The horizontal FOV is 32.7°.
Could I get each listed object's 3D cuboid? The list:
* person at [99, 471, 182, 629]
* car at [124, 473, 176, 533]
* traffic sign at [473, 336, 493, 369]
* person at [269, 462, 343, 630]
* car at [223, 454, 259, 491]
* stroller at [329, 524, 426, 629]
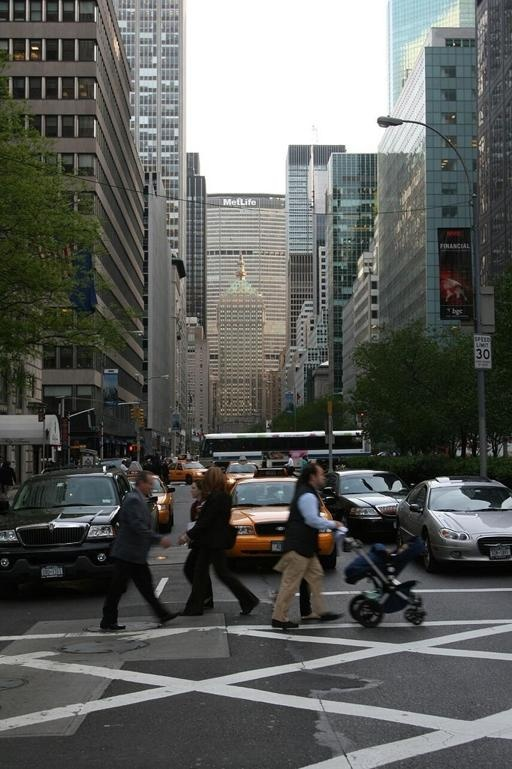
[{"bbox_3d":[-1.194,1.687,8.800,0.700,1.582,1.321,0,-3,-7],"label":"person"},{"bbox_3d":[-2.707,3.014,21.987,1.602,1.386,3.591,0,-8,-2],"label":"car"},{"bbox_3d":[5.031,-0.750,19.500,0.332,0.801,0.467,-1,-3,11],"label":"traffic sign"},{"bbox_3d":[0.502,1.628,8.801,0.697,1.659,0.825,-1,-3,1],"label":"person"},{"bbox_3d":[-0.567,3.349,33.606,0.987,1.046,2.543,0,-9,-3],"label":"car"},{"bbox_3d":[1.231,2.044,9.113,0.908,1.157,0.689,2,-2,2],"label":"stroller"}]
